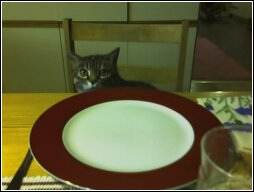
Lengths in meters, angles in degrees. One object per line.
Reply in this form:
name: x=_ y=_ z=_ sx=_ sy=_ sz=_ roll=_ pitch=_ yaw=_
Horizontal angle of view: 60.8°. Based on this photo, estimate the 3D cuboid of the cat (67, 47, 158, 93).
cat: x=-0.064 y=-0.072 z=0.937 sx=0.321 sy=0.155 sz=0.230 roll=-12 pitch=64 yaw=-38

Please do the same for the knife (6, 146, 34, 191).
knife: x=-0.186 y=0.134 z=0.380 sx=0.012 sy=0.008 sz=0.061 roll=16 pitch=35 yaw=-4
